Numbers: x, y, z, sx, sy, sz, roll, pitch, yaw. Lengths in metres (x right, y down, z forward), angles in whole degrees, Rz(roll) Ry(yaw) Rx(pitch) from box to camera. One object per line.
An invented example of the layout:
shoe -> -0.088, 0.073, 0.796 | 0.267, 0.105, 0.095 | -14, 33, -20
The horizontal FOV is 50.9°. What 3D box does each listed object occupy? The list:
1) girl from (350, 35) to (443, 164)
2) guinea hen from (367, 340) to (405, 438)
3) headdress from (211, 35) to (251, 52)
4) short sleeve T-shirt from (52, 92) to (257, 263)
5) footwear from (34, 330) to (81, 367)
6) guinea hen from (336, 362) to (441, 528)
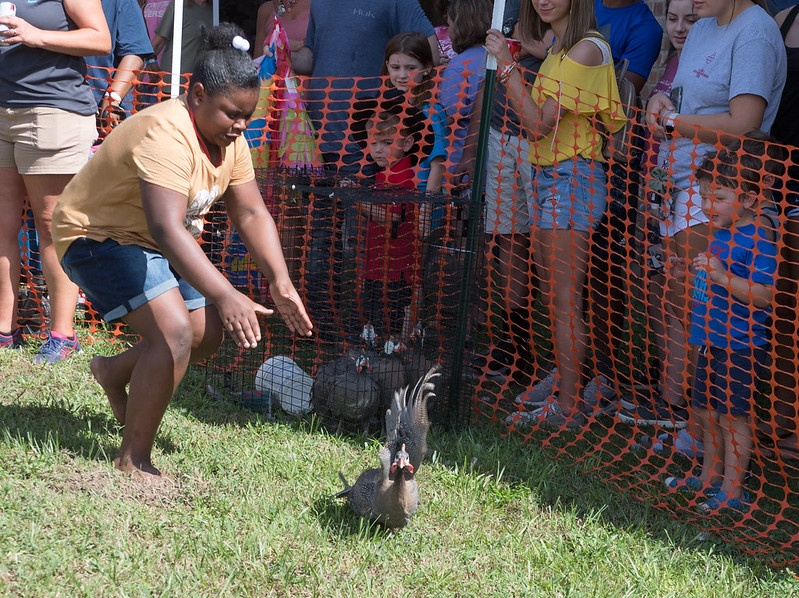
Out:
girl -> 0.102, -1.482, 5.651 | 0.720, 0.766, 0.733 | -4, 51, -6
guinea hen -> -0.026, 0.497, 4.851 | 0.167, 0.485, 0.272 | 1, -11, 5
headdress -> -0.779, -1.196, 3.903 | 0.156, 0.074, 0.059 | 1, -3, -7
short sleeve T-shirt -> -1.137, -0.537, 3.969 | 0.937, 0.834, 0.544 | -1, 19, -22
footwear -> -2.241, 0.314, 5.496 | 0.122, 0.157, 0.354 | 19, 20, 17
guinea hen -> -0.016, 0.742, 3.875 | 0.308, 0.734, 0.418 | -4, 20, -29
